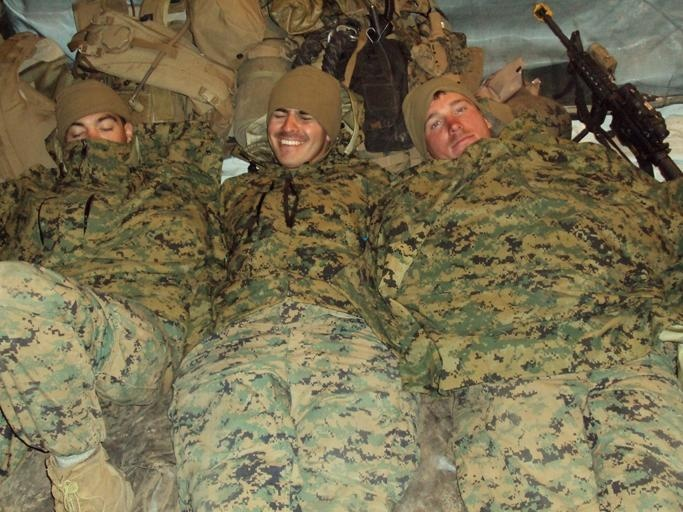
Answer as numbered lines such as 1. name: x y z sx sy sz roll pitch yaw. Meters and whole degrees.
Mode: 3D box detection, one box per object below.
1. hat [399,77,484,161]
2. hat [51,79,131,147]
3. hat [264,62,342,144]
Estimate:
1. hat: 0.559 -0.905 4.642 0.272 0.204 0.342 -11 -10 -13
2. hat: -1.586 -0.935 4.575 0.349 0.238 0.432 -19 -15 -14
3. hat: -0.303 -0.982 4.740 0.366 0.399 0.487 17 20 -17
